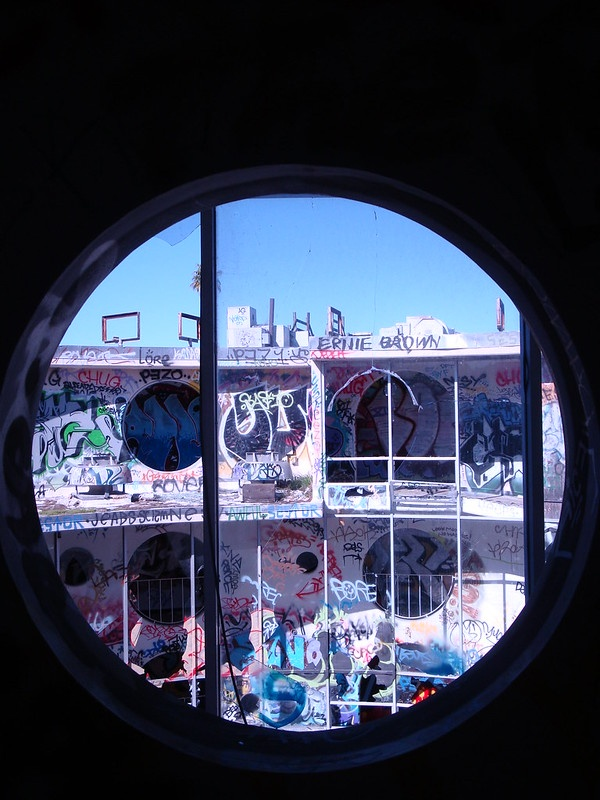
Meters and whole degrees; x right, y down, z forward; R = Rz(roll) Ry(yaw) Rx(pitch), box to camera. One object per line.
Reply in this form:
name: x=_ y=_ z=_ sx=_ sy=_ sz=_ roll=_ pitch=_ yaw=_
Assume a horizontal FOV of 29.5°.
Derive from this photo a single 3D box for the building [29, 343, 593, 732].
building: x=-0.291 y=0.404 z=13.196 sx=5.356 sy=4.683 sz=3.340 roll=-1 pitch=34 yaw=-11
